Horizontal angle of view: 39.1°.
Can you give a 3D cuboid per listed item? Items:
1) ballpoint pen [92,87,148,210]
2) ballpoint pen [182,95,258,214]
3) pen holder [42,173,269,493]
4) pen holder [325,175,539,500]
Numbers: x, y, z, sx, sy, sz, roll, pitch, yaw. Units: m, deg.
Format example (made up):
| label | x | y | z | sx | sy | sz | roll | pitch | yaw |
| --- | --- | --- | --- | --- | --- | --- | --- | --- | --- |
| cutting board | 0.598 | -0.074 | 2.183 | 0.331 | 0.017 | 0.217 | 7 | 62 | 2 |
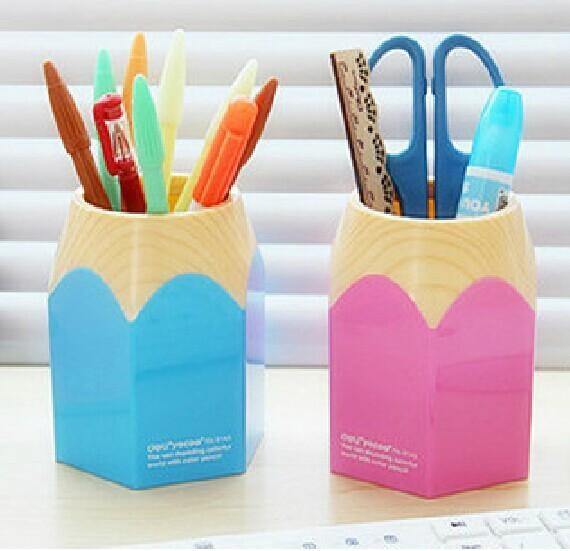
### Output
| label | x | y | z | sx | sy | sz | roll | pitch | yaw |
| --- | --- | --- | --- | --- | --- | --- | --- | --- | --- |
| ballpoint pen | -0.117 | -0.071 | 0.569 | 0.019 | 0.106 | 0.031 | -11 | 11 | 19 |
| ballpoint pen | -0.045 | -0.075 | 0.581 | 0.026 | 0.098 | 0.031 | 19 | 20 | -4 |
| pen holder | -0.091 | 0.038 | 0.624 | 0.146 | 0.217 | 0.151 | 0 | 1 | 2 |
| pen holder | 0.106 | 0.040 | 0.679 | 0.173 | 0.265 | 0.196 | 0 | 18 | 3 |
